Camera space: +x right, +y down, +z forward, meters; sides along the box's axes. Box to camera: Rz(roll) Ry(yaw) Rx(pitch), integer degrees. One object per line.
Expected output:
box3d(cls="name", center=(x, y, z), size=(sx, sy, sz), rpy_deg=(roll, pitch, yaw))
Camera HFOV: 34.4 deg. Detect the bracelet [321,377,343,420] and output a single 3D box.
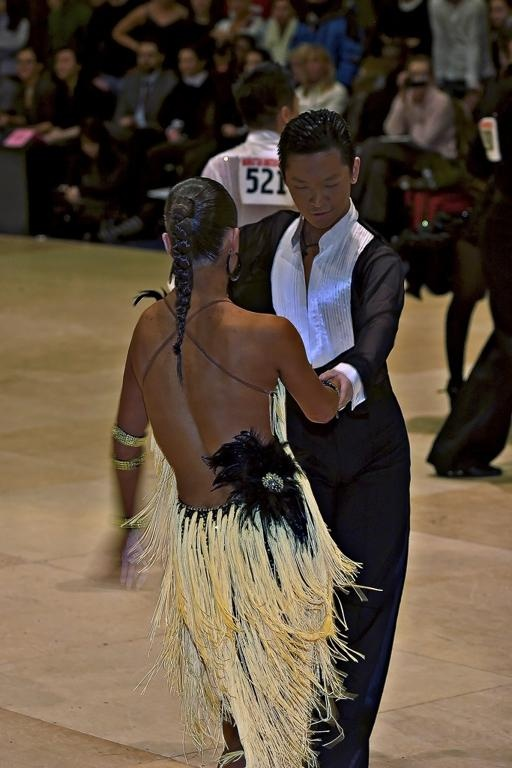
box3d(cls="bracelet", center=(0.143, 0.023, 1.498), size=(0.032, 0.059, 0.048), rpy_deg=(6, -30, -5))
